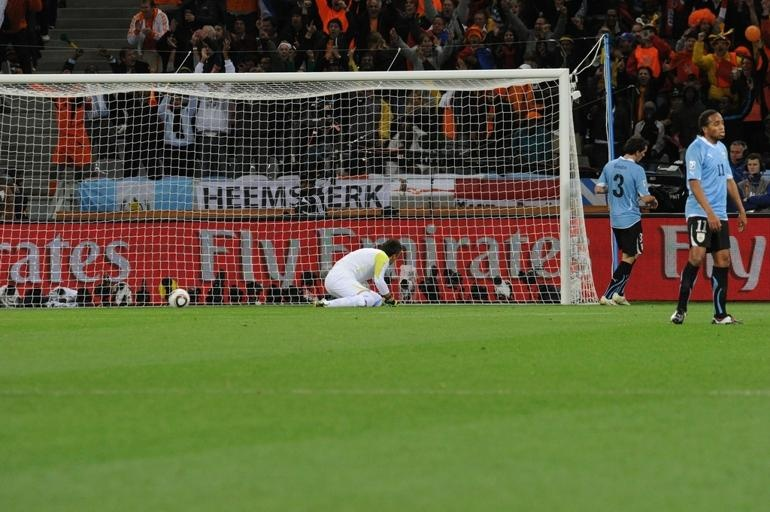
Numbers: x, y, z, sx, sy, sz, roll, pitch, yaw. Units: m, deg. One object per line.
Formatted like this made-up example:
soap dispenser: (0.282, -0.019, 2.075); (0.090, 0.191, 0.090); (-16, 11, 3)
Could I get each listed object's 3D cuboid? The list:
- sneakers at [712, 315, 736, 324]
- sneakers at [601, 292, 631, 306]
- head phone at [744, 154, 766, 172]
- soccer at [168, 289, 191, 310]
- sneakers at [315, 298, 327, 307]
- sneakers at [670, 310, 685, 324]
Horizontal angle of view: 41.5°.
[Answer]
sneakers: (3.810, 0.710, 11.474); (0.287, 0.112, 0.099); (0, 1, 5)
sneakers: (3.381, 0.622, 14.962); (0.504, 0.194, 0.163); (3, 8, -27)
head phone: (6.115, -1.537, 16.851); (0.278, 0.307, 0.336); (-3, -6, 32)
soccer: (-3.203, 0.678, 16.037); (0.301, 0.293, 0.265); (13, 11, -34)
sneakers: (-0.959, 0.682, 14.977); (0.136, 0.123, 0.050); (-1, 14, -8)
sneakers: (3.322, 0.685, 11.628); (0.135, 0.154, 0.168); (4, 7, 9)
